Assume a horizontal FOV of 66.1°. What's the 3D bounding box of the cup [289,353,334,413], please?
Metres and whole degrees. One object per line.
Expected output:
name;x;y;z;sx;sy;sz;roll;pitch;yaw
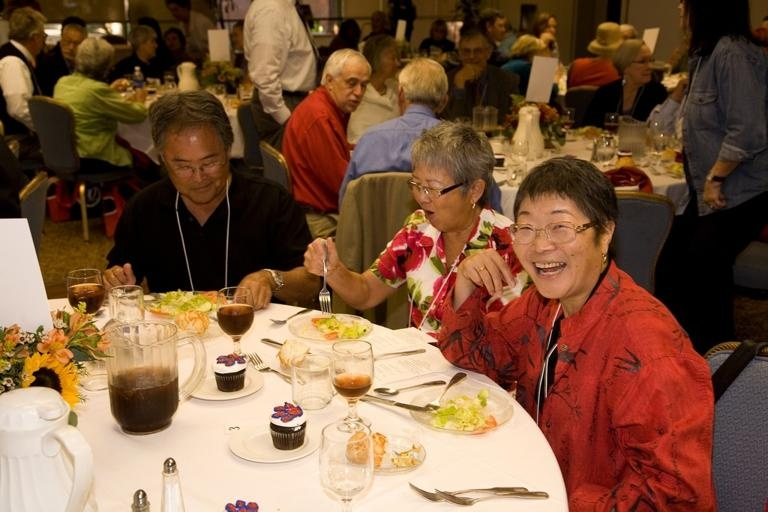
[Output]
cup;-0.193;0.348;1.723;0.145;0.173;0.150;0;8;0

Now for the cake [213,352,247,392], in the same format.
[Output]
cake;-0.463;0.342;1.796;0.096;0.102;0.105;0;8;-3

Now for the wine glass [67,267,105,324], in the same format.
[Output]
wine glass;-1.053;0.142;2.069;0.114;0.161;0.201;-9;20;-29

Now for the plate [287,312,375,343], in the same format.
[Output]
plate;-0.198;0.246;2.089;0.299;0.051;0.196;1;17;-1

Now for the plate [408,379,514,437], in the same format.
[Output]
plate;0.243;0.427;1.696;0.294;0.053;0.217;-15;23;-41

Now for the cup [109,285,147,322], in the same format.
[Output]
cup;-0.869;0.138;2.009;0.113;0.124;0.109;0;15;0

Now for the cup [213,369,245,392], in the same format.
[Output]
cup;-0.464;0.370;1.749;0.070;0.053;0.072;2;12;0

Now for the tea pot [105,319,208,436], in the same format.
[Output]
tea pot;-0.657;0.304;1.685;0.256;0.277;0.324;-8;19;-26

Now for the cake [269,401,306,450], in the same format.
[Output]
cake;-0.255;0.434;1.565;0.101;0.105;0.105;0;8;-4

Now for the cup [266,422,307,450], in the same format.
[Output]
cup;-0.250;0.462;1.518;0.072;0.057;0.074;1;6;0

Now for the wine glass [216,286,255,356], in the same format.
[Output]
wine glass;-0.487;0.214;1.919;0.108;0.200;0.137;-3;18;-13

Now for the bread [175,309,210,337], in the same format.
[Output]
bread;-0.639;0.218;1.945;0.100;0.059;0.100;5;19;-14

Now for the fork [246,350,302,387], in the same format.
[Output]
fork;-0.344;0.349;1.822;0.151;0.023;0.025;34;46;29

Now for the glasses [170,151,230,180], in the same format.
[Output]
glasses;-0.775;-0.372;2.451;0.233;0.093;0.082;-7;19;-24

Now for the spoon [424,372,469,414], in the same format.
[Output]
spoon;0.185;0.394;1.756;0.048;0.027;0.237;6;23;21
